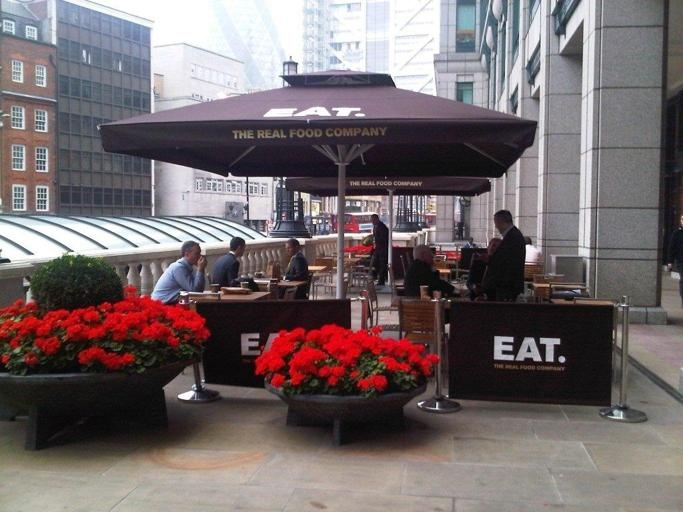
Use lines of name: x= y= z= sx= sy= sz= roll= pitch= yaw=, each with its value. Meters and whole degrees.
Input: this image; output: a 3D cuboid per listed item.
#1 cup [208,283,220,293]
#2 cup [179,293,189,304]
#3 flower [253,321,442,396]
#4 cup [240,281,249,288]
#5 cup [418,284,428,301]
cup: x=-1.823 y=0.440 z=9.122 sx=0.211 sy=0.158 sz=0.212 roll=-1 pitch=-4 yaw=0
cup: x=-1.992 y=0.527 z=8.124 sx=0.146 sy=0.150 sz=0.089 roll=0 pitch=3 yaw=-15
flower: x=-0.009 y=1.093 z=6.554 sx=1.017 sy=0.375 sz=1.040 roll=1 pitch=2 yaw=13
cup: x=-1.514 y=0.425 z=9.910 sx=0.094 sy=0.070 sz=0.094 roll=0 pitch=-1 yaw=0
cup: x=1.132 y=0.487 z=8.818 sx=0.152 sy=0.238 sz=0.168 roll=0 pitch=2 yaw=34
